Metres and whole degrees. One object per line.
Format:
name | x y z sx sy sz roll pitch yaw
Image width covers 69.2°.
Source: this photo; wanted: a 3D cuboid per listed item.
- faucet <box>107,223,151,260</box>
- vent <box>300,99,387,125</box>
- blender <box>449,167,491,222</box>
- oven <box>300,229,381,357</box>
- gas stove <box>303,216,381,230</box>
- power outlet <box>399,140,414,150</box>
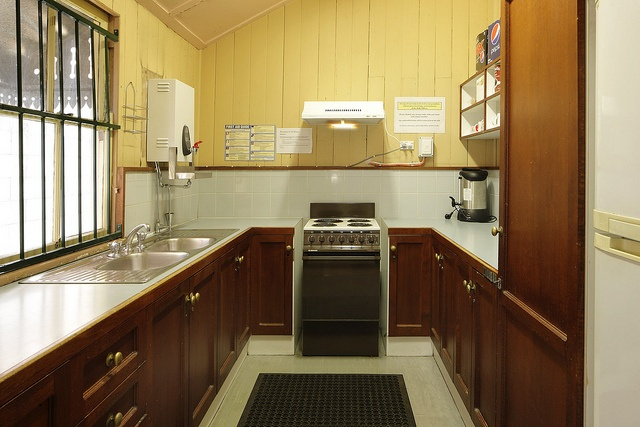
faucet | -1.125 0.174 2.755 0.168 0.146 0.267 -2 4 1
vent | 0.188 -0.855 3.892 0.651 0.203 0.391 1 9 0
blender | 1.272 -0.140 3.870 0.329 0.441 0.293 4 8 23
oven | 0.173 0.512 4.007 0.655 1.119 0.825 1 16 5
gas stove | 0.194 0.084 3.909 0.584 0.034 0.608 2 9 5
power outlet | 0.777 -0.606 4.150 0.123 0.074 0.038 2 8 10
